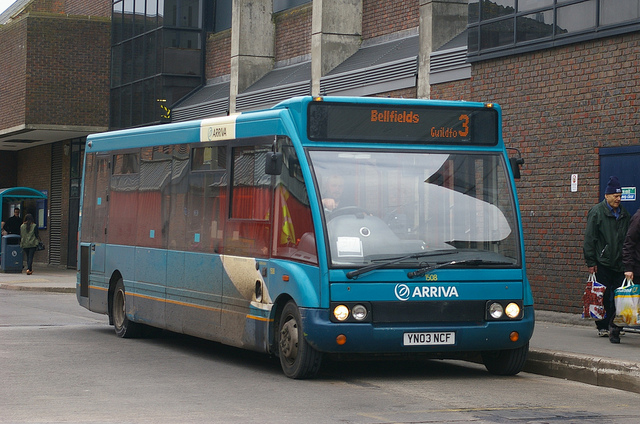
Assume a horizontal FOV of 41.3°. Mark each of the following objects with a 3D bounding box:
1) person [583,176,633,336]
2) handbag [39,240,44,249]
[{"bbox_3d":[4.921,0.759,14.460,0.760,2.794,0.649,2,0,30],"label":"person"},{"bbox_3d":[-10.711,1.240,32.656,0.177,0.348,0.343,-5,-2,20],"label":"handbag"}]
